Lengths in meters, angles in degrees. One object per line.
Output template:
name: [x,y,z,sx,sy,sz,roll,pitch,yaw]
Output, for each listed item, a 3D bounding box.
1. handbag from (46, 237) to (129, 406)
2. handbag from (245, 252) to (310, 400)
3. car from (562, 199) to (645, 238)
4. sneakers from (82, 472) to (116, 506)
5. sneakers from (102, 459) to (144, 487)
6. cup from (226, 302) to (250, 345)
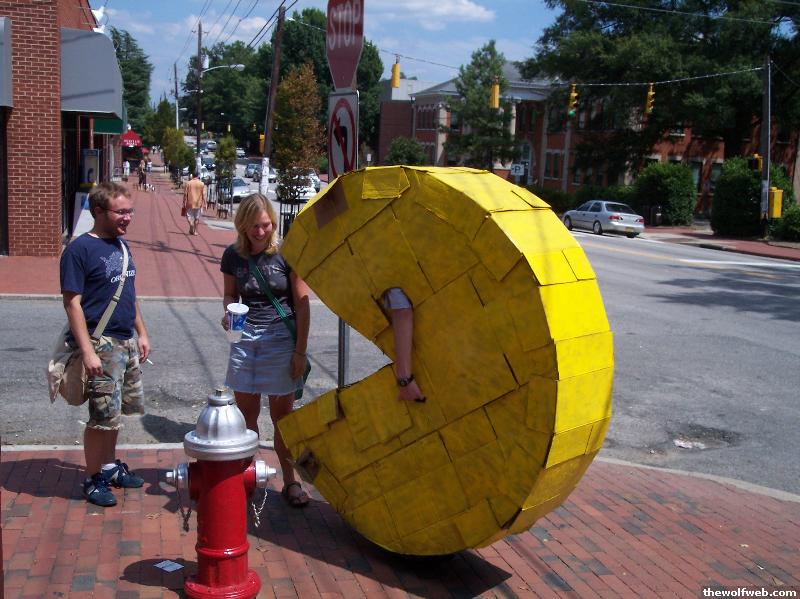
handbag: [-2.318,0.189,4.928,0.575,1.185,0.421,-2,10,-25]
handbag: [-0.992,0.172,5.074,0.206,0.938,0.701,-19,-6,0]
car: [9.904,-4.020,32.726,1.546,1.571,3.796,-5,13,-35]
sneakers: [-2.242,1.396,4.938,0.193,0.196,0.236,-4,12,-34]
sneakers: [-2.178,1.359,5.211,0.278,0.135,0.156,20,10,-28]
cup: [-1.191,0.184,4.811,0.210,0.216,0.221,5,-1,0]
